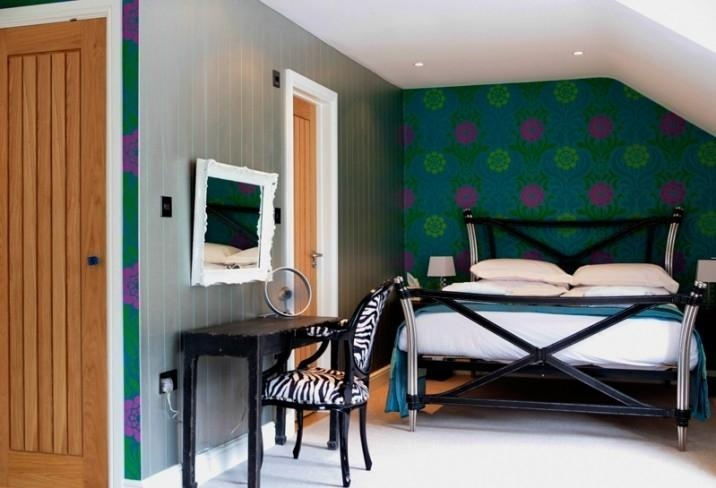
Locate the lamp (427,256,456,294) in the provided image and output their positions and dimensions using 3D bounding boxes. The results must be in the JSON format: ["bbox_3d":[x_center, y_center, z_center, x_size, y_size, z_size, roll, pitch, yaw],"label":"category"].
[{"bbox_3d":[0.930,0.312,6.690,0.342,0.476,0.322,2,-3,-45],"label":"lamp"}]

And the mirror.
[{"bbox_3d":[-0.829,-0.153,4.389,0.153,0.871,0.788,3,7,30],"label":"mirror"}]

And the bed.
[{"bbox_3d":[1.790,0.619,5.733,1.869,1.457,2.352,0,-1,17],"label":"bed"}]

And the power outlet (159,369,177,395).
[{"bbox_3d":[-1.161,0.843,3.947,0.023,0.122,0.171,-3,-5,20],"label":"power outlet"}]

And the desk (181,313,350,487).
[{"bbox_3d":[-0.624,1.028,4.207,0.417,0.804,1.116,1,0,18],"label":"desk"}]
